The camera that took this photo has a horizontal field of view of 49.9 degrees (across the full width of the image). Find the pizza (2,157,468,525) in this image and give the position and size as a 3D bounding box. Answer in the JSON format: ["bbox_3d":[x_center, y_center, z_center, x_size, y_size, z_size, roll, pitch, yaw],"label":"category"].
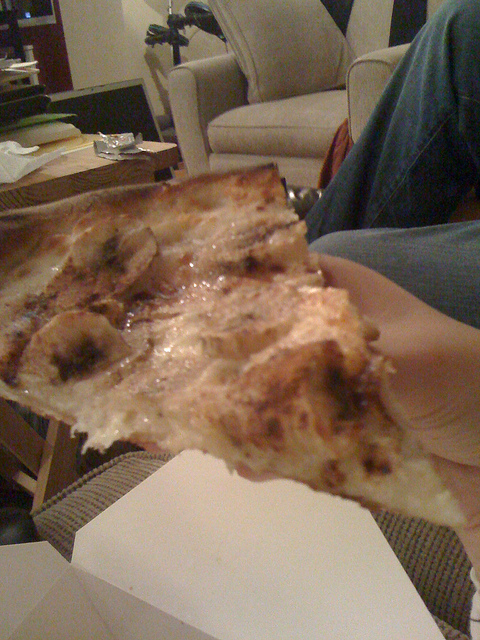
[{"bbox_3d":[0.000,0.014,0.185,0.151,0.103,0.084,-2,50,11],"label":"pizza"}]
